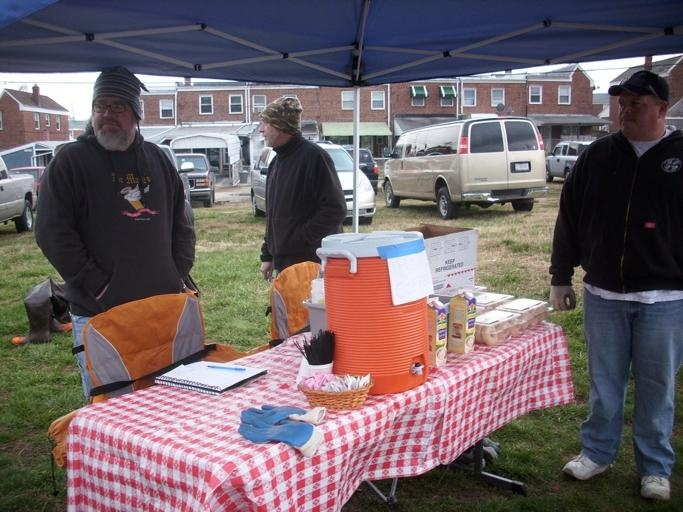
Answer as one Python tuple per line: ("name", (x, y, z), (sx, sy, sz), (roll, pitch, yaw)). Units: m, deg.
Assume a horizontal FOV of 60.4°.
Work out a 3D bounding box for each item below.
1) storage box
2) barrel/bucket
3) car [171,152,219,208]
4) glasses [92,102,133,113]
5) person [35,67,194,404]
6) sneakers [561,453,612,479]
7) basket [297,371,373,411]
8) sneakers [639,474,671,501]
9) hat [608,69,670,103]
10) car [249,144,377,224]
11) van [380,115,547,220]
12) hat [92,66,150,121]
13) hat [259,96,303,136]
("storage box", (0.584, 0.006, 3.598), (0.409, 0.346, 0.393), (-7, 7, -26))
("barrel/bucket", (0.199, 0.192, 3.084), (0.650, 0.876, 0.765), (2, 9, 30))
("car", (-4.677, -2.465, 18.431), (1.211, 1.099, 2.490), (-1, 4, -1))
("glasses", (-1.364, -0.889, 3.492), (0.218, 0.080, 0.065), (-6, 10, -19))
("person", (-1.374, -0.028, 3.738), (0.922, 2.215, 0.579), (-12, 21, -40))
("sneakers", (1.601, 1.392, 3.897), (0.333, 0.130, 0.126), (-2, 4, 13))
("basket", (-0.024, 0.619, 2.693), (0.326, 0.115, 0.333), (-3, 2, -12))
("sneakers", (1.933, 1.432, 3.618), (0.157, 0.131, 0.110), (2, 11, 26))
("hat", (1.769, -1.031, 3.532), (0.375, 0.180, 0.256), (-6, 11, -27))
("car", (-0.752, -1.696, 13.322), (1.858, 1.405, 3.287), (-4, 9, -25))
("van", (2.778, -2.194, 14.476), (2.215, 1.726, 4.175), (-3, 11, -22))
("hat", (-1.387, -0.998, 3.592), (0.286, 0.247, 0.224), (-12, 3, 16))
("hat", (-0.442, -1.095, 4.540), (0.360, 0.313, 0.249), (-7, 11, -26))
